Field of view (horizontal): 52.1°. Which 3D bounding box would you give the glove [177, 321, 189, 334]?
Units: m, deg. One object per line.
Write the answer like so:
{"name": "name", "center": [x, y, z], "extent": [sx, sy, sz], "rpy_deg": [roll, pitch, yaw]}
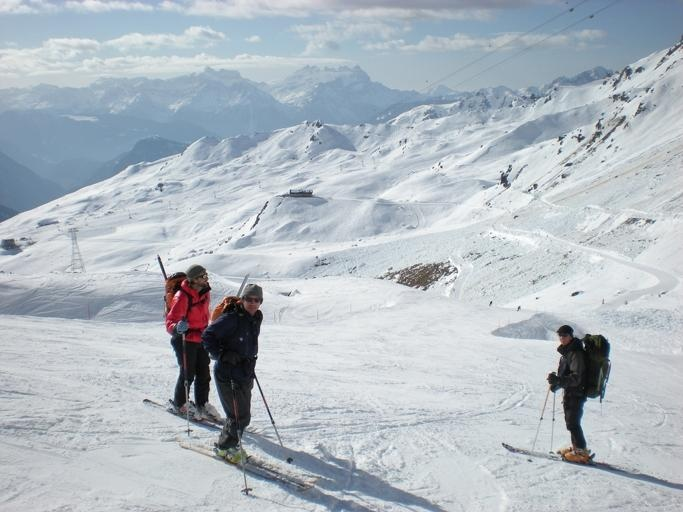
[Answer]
{"name": "glove", "center": [-4.755, 2.085, 20.770], "extent": [0.356, 0.148, 0.421], "rpy_deg": [15, -36, -28]}

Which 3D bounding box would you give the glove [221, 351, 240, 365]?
{"name": "glove", "center": [-3.156, 2.901, 19.906], "extent": [0.499, 0.359, 0.113], "rpy_deg": [3, 13, -9]}

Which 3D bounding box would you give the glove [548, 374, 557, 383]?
{"name": "glove", "center": [6.614, 3.776, 21.773], "extent": [0.339, 0.317, 0.113], "rpy_deg": [-4, 1, -6]}

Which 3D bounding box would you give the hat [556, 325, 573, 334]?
{"name": "hat", "center": [6.981, 2.259, 21.795], "extent": [0.475, 0.312, 0.302], "rpy_deg": [-12, 15, 9]}

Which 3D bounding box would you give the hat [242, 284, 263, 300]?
{"name": "hat", "center": [-2.550, 0.994, 19.963], "extent": [0.599, 0.443, 0.350], "rpy_deg": [3, 11, -7]}

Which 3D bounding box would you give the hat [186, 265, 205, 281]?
{"name": "hat", "center": [-4.464, 0.484, 21.358], "extent": [0.509, 0.432, 0.555], "rpy_deg": [-43, 14, -17]}
